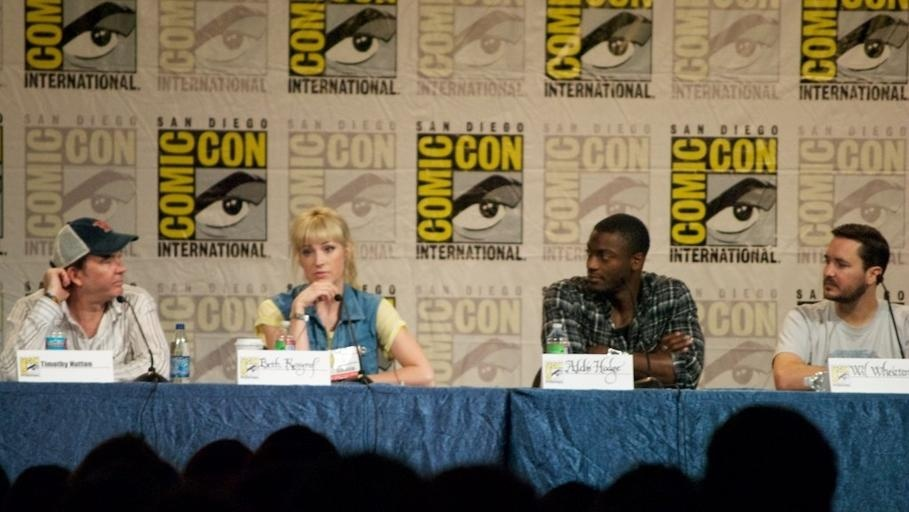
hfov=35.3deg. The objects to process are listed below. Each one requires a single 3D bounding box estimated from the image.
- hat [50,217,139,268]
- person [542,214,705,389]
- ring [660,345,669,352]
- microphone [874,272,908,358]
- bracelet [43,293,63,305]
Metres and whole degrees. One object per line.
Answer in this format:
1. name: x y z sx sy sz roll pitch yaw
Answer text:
1. hat: -2.166 -0.109 8.634 0.566 0.263 0.380 -10 8 12
2. person: 1.051 0.314 8.753 1.034 1.083 0.762 3 8 15
3. ring: 1.245 0.549 8.458 0.039 0.036 0.038 2 0 0
4. microphone: 2.635 0.364 8.612 0.182 0.535 0.040 -8 -20 0
5. bracelet: -2.377 0.243 8.442 0.071 0.065 0.051 7 36 24
